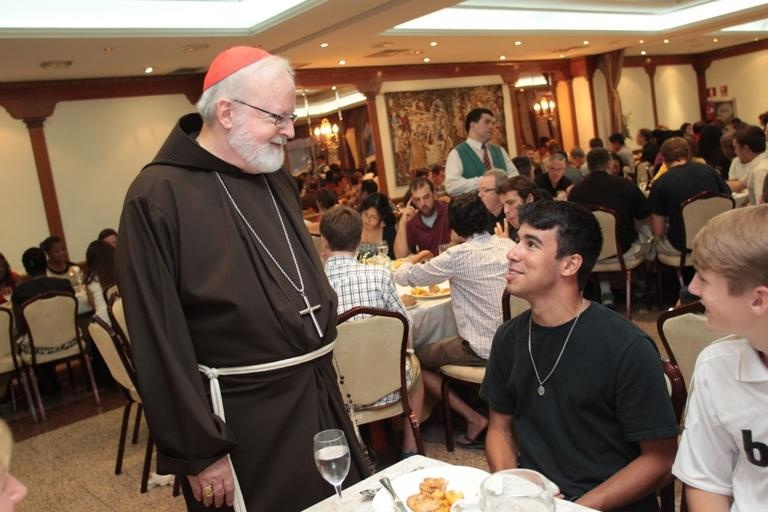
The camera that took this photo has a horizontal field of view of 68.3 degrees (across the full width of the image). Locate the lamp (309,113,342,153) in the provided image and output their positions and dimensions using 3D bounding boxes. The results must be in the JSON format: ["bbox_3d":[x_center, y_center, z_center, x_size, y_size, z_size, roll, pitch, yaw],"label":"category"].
[{"bbox_3d":[-1.045,-2.236,10.233,0.539,0.717,0.514,-4,-3,-15],"label":"lamp"}]

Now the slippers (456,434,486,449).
[{"bbox_3d":[0.572,1.215,3.733,0.209,0.079,0.106,2,5,3],"label":"slippers"}]

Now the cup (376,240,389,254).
[{"bbox_3d":[0.009,-0.091,4.779,0.094,0.154,0.097,-1,-2,0],"label":"cup"}]

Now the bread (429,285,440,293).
[{"bbox_3d":[0.372,0.234,4.155,0.057,0.037,0.058,2,8,24],"label":"bread"}]

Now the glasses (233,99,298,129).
[{"bbox_3d":[-0.447,-0.553,2.165,0.130,0.036,0.127,25,18,13],"label":"glasses"}]

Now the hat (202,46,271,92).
[{"bbox_3d":[-0.610,-0.776,2.257,0.270,0.099,0.272,-30,19,-6],"label":"hat"}]

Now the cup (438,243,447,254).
[{"bbox_3d":[0.489,-0.072,4.697,0.080,0.092,0.086,0,-7,0],"label":"cup"}]
